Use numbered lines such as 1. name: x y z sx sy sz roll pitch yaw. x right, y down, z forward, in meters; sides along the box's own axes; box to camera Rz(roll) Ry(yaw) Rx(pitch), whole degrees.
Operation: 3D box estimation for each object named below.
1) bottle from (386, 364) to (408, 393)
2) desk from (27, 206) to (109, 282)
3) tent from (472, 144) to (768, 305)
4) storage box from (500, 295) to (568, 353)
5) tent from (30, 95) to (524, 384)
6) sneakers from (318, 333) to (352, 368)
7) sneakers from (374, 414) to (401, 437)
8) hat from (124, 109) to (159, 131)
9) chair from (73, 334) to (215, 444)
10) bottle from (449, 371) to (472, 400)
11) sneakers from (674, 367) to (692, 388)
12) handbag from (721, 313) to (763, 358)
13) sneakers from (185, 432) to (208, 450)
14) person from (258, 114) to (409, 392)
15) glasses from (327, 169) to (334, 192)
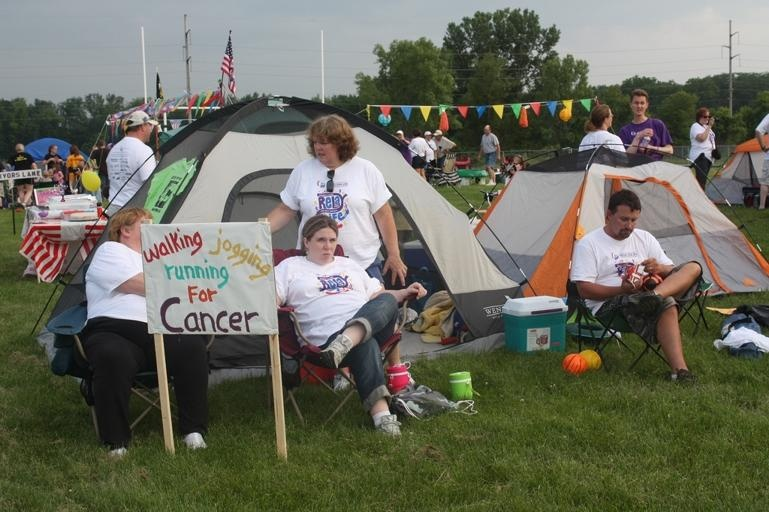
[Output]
1. bottle: 0.102 1.042 7.479 0.187 0.195 0.195 -1 -7 -3
2. desk: -4.105 -0.157 11.224 1.080 0.524 1.079 1 3 -36
3. tent: 2.612 -0.448 9.738 2.133 1.089 1.959 -3 4 -38
4. storage box: 1.387 0.651 8.574 0.609 0.555 0.413 -2 4 -15
5. tent: -0.692 -0.498 8.602 3.105 1.559 3.110 -1 1 -28
6. sneakers: -0.357 0.736 6.766 0.162 0.132 0.372 -17 -3 -12
7. sneakers: 0.025 1.348 7.000 0.121 0.129 0.209 1 -1 -30
8. hat: -2.587 -1.423 9.308 0.289 0.153 0.184 -23 34 -39
9. chair: -1.919 0.974 7.133 0.914 1.017 1.013 -3 6 -15
10. bottle: 0.647 1.112 7.513 0.201 0.204 0.201 -8 -5 44
11. sneakers: 2.571 1.044 7.600 0.179 0.129 0.097 2 8 18
12. handbag: 3.340 0.740 8.256 0.365 0.281 0.632 3 9 21
13. sneakers: -1.470 1.435 6.846 0.166 0.108 0.140 -3 8 -17
14. person: -0.432 0.034 7.998 1.226 2.639 0.818 -7 19 -10
15. glasses: -0.474 -0.647 7.744 0.075 0.189 0.052 -1 8 -4
